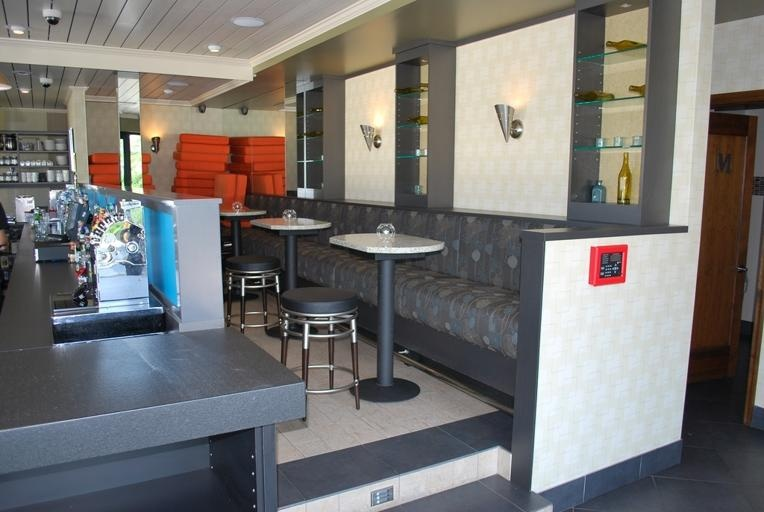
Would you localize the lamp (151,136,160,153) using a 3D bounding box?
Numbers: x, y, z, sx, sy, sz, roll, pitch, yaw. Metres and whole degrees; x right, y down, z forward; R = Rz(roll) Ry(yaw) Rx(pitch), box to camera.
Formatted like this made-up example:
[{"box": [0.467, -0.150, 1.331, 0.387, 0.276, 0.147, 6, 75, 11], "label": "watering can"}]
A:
[{"box": [-4.224, -2.102, 10.333, 0.181, 0.296, 0.201, -4, 11, -19], "label": "lamp"}]

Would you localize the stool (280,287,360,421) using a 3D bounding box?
[{"box": [-0.475, 0.693, 4.122, 0.647, 0.795, 0.585, -1, 3, -10], "label": "stool"}]

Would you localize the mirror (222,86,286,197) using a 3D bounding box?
[{"box": [-2.292, -2.014, 9.754, 1.118, 1.788, 2.070, -1, 5, -30], "label": "mirror"}]

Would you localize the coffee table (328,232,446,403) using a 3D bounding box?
[{"box": [0.062, 0.521, 4.476, 0.738, 1.211, 1.218, -3, 9, -23], "label": "coffee table"}]

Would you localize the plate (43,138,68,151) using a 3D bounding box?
[{"box": [-5.909, -2.024, 10.054, 0.325, 0.159, 0.330, -1, 3, -24], "label": "plate"}]

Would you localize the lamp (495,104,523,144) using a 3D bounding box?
[{"box": [1.183, -1.261, 5.194, 0.263, 0.340, 0.112, 1, 11, 9], "label": "lamp"}]

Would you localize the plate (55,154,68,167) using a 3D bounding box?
[{"box": [-5.797, -1.753, 10.000, 0.226, 0.168, 0.230, -1, 2, -6], "label": "plate"}]

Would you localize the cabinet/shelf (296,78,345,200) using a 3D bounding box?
[{"box": [-0.852, -1.615, 7.521, 0.700, 1.620, 0.457, 2, 11, 12], "label": "cabinet/shelf"}]

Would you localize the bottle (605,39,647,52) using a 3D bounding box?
[{"box": [1.622, -1.425, 3.739, 0.065, 0.068, 0.259, -16, 21, -16], "label": "bottle"}]

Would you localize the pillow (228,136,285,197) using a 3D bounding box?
[{"box": [-2.141, -1.644, 9.722, 0.968, 1.020, 1.724, -4, 10, -19], "label": "pillow"}]

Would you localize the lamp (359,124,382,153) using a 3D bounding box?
[{"box": [-0.182, -1.497, 6.917, 0.184, 0.320, 0.356, -6, 11, -28], "label": "lamp"}]

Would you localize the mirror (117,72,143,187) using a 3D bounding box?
[{"box": [-3.683, -1.819, 8.095, 0.344, 1.507, 0.552, -6, 12, -24], "label": "mirror"}]
